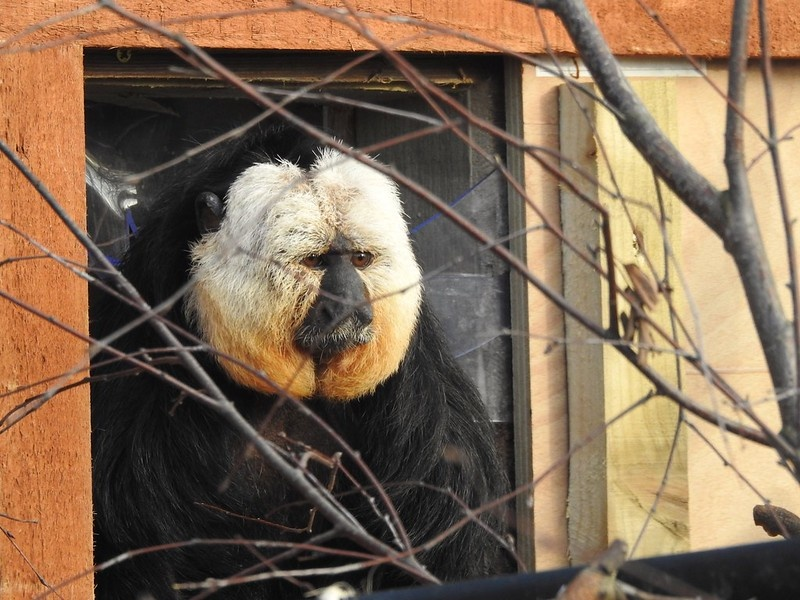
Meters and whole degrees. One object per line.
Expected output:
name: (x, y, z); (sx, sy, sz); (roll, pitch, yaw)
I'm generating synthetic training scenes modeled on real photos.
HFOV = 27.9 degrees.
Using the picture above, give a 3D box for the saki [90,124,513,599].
saki: (-0.332, 0.204, 5.125); (1.220, 1.325, 0.810); (13, -36, -39)
